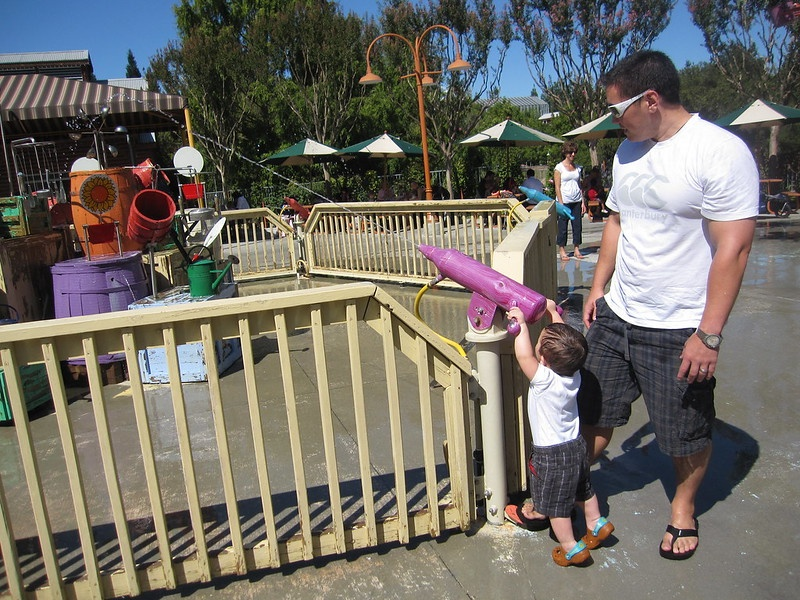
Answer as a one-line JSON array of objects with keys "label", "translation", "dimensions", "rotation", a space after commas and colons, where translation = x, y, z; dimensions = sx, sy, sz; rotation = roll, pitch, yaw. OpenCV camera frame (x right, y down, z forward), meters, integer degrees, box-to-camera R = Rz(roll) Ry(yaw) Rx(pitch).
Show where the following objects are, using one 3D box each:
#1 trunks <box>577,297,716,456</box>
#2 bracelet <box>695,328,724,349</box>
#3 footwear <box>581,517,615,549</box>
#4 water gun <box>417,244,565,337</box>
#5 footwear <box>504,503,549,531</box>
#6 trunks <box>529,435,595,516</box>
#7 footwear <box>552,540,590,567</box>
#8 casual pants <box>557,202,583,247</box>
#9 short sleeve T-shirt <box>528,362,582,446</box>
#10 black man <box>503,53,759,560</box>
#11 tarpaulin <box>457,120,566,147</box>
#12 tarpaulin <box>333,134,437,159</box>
[{"label": "trunks", "translation": [1.318, 0.386, 3.509], "dimensions": [0.407, 0.875, 0.791], "rotation": [-6, 12, -44]}, {"label": "bracelet", "translation": [1.532, 0.191, 3.261], "dimensions": [0.119, 0.095, 0.085], "rotation": [4, 14, 26]}, {"label": "footwear", "translation": [1.077, 1.251, 3.546], "dimensions": [0.101, 0.223, 0.114], "rotation": [41, 51, 12]}, {"label": "water gun", "translation": [0.444, -0.151, 3.479], "dimensions": [0.691, 0.242, 0.390], "rotation": [32, 53, 12]}, {"label": "footwear", "translation": [0.706, 1.231, 3.711], "dimensions": [0.194, 0.072, 0.125], "rotation": [15, 18, 32]}, {"label": "trunks", "translation": [0.856, 0.923, 3.473], "dimensions": [0.398, 0.436, 0.262], "rotation": [-5, 4, -34]}, {"label": "footwear", "translation": [0.903, 1.342, 3.479], "dimensions": [0.102, 0.101, 0.189], "rotation": [4, -7, -32]}, {"label": "casual pants", "translation": [2.660, -1.270, 10.440], "dimensions": [0.179, 0.699, 0.314], "rotation": [-4, -12, 3]}, {"label": "short sleeve T-shirt", "translation": [0.812, 0.543, 3.451], "dimensions": [0.332, 0.487, 0.245], "rotation": [-9, 12, -41]}, {"label": "black man", "translation": [1.339, 0.057, 3.680], "dimensions": [1.016, 2.751, 0.760], "rotation": [8, 14, 41]}, {"label": "tarpaulin", "translation": [2.983, -4.495, 17.918], "dimensions": [1.972, 0.612, 2.160], "rotation": [-1, 8, 12]}, {"label": "tarpaulin", "translation": [-0.726, -4.671, 20.113], "dimensions": [1.509, 0.421, 1.646], "rotation": [1, 7, 14]}]
